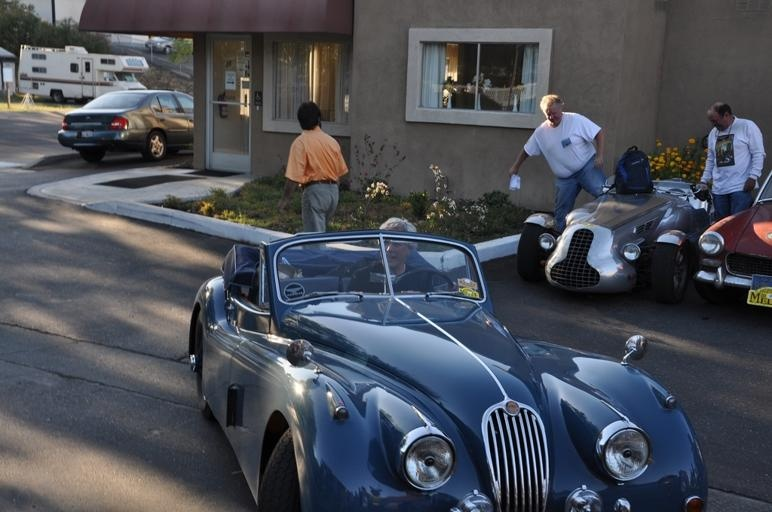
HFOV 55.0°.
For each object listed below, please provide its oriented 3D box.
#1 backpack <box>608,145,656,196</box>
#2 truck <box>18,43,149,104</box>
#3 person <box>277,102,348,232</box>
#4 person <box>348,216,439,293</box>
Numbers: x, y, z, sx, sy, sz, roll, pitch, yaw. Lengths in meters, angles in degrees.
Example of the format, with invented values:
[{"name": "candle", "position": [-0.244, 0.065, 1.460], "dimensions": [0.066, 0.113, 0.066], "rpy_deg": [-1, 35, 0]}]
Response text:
[{"name": "backpack", "position": [3.956, -1.240, 11.811], "dimensions": [0.623, 0.996, 0.444], "rpy_deg": [2, -30, 14]}, {"name": "truck", "position": [-18.280, -10.231, 43.744], "dimensions": [6.030, 3.604, 2.424], "rpy_deg": [0, -2, -23]}, {"name": "person", "position": [-1.058, -1.036, 11.347], "dimensions": [0.973, 2.691, 0.686], "rpy_deg": [-19, 27, -41]}, {"name": "person", "position": [0.076, -0.047, 7.267], "dimensions": [0.627, 0.749, 0.449], "rpy_deg": [7, 8, 23]}]
